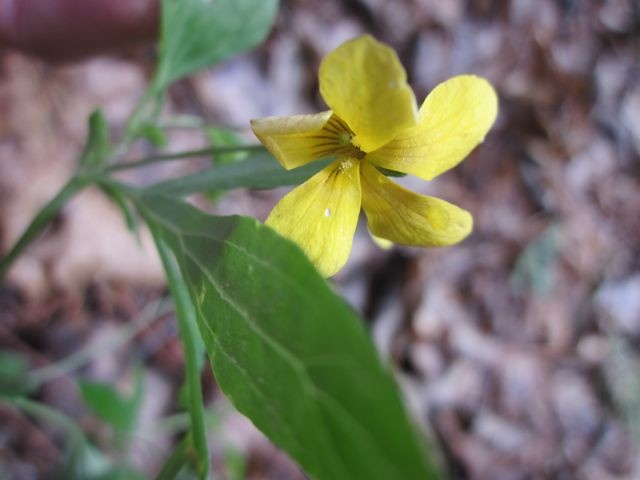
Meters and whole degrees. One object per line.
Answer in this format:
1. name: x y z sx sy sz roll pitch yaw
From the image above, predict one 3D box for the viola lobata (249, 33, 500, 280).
1. viola lobata: 0.030 -0.044 0.389 0.135 0.085 0.119 8 -37 -28
